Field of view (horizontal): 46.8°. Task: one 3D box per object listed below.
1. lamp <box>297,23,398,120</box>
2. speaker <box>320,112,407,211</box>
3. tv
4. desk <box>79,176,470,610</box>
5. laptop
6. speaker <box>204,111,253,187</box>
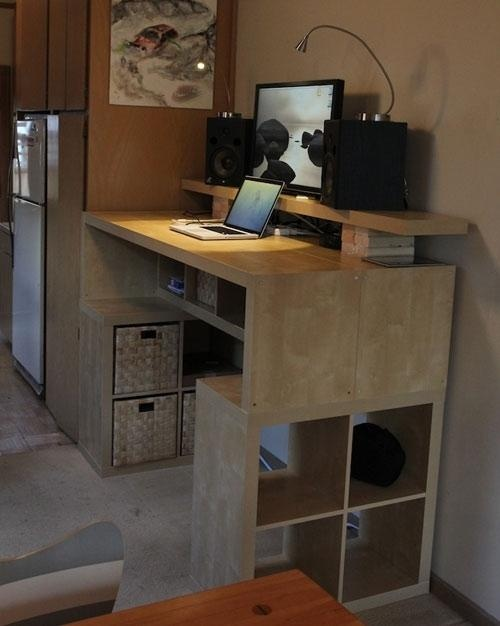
[{"bbox_3d":[0.342,-0.850,2.086,0.321,0.150,0.417,6,-28,19],"label":"lamp"},{"bbox_3d":[0.362,-0.480,1.871,0.226,0.281,0.154,0,13,-12],"label":"speaker"},{"bbox_3d":[0.182,-0.710,2.341,0.052,0.437,0.486,-8,19,-40],"label":"tv"},{"bbox_3d":[-0.108,0.166,2.410,0.676,1.330,1.707,-5,14,-30],"label":"desk"},{"bbox_3d":[-0.078,-0.394,2.264,0.334,0.230,0.363,0,15,-28],"label":"laptop"},{"bbox_3d":[-0.106,-0.736,2.728,0.198,0.341,0.195,2,-5,10],"label":"speaker"}]
